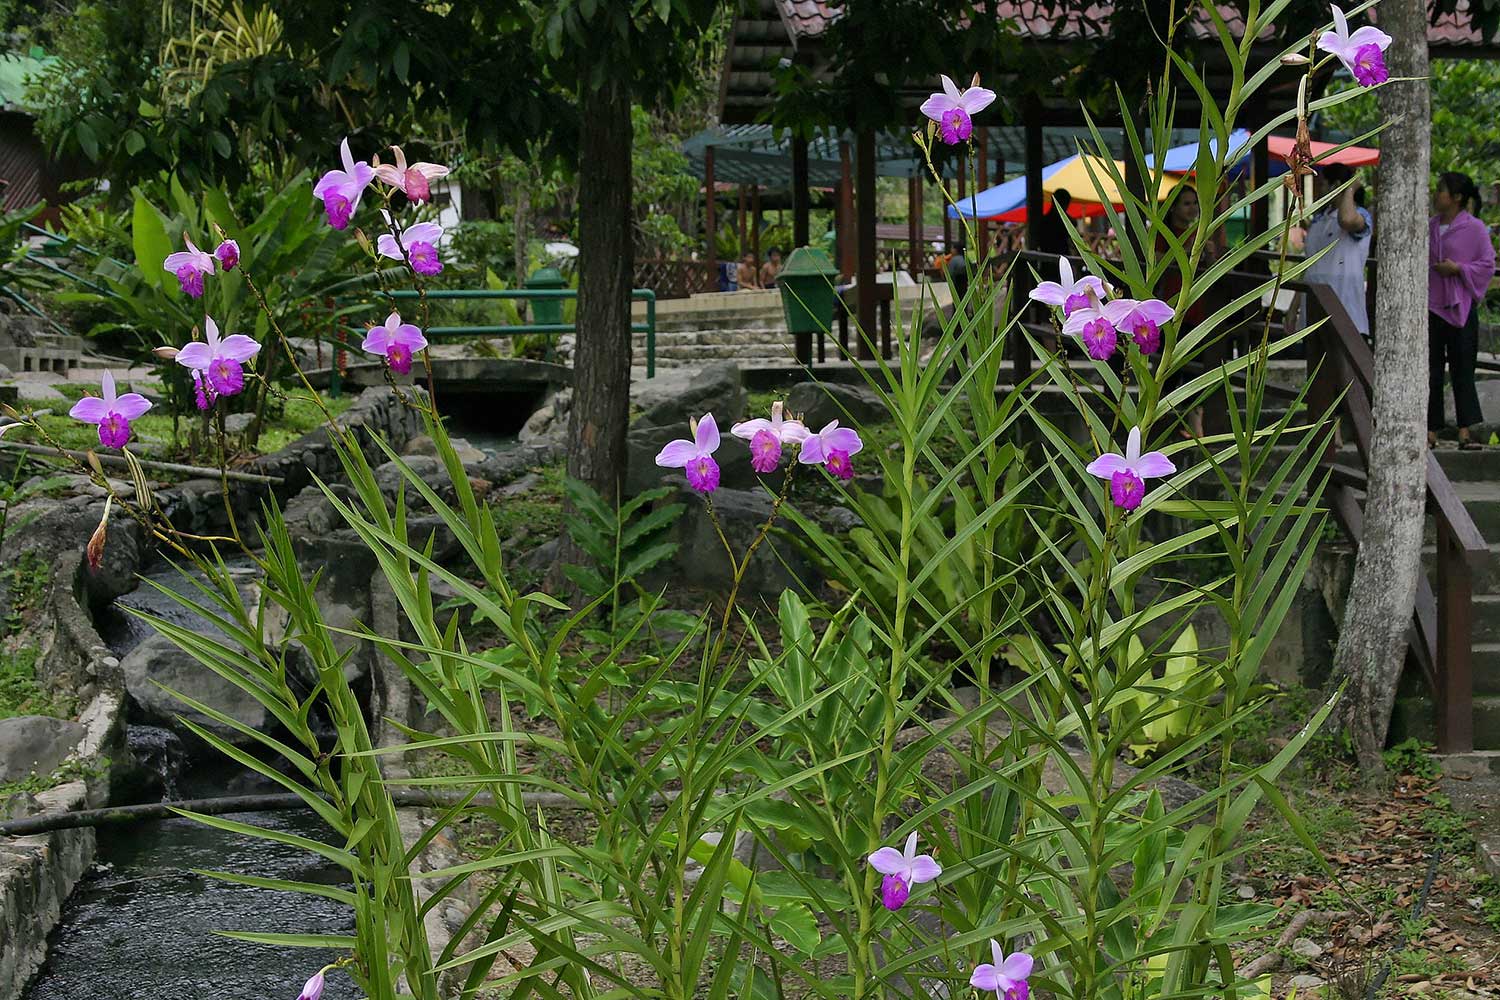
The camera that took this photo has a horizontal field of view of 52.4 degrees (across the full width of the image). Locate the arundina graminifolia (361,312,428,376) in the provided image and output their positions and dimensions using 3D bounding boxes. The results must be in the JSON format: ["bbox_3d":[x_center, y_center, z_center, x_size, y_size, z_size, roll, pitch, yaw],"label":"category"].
[{"bbox_3d":[-1.008,-0.440,4.377,0.150,0.186,0.057,-4,10,1],"label":"arundina graminifolia"}]

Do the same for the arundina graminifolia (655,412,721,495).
[{"bbox_3d":[-0.176,-0.126,4.373,0.165,0.278,0.393,-3,11,-3],"label":"arundina graminifolia"}]

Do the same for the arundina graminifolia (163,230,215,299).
[{"bbox_3d":[-1.684,-0.685,4.569,0.138,0.164,0.439,-7,12,-23],"label":"arundina graminifolia"}]

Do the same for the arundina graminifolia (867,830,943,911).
[{"bbox_3d":[0.437,1.000,4.076,0.159,0.215,0.228,4,13,34],"label":"arundina graminifolia"}]

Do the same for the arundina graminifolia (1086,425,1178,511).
[{"bbox_3d":[1.015,-0.071,4.077,0.219,0.152,0.253,-1,-23,19],"label":"arundina graminifolia"}]
